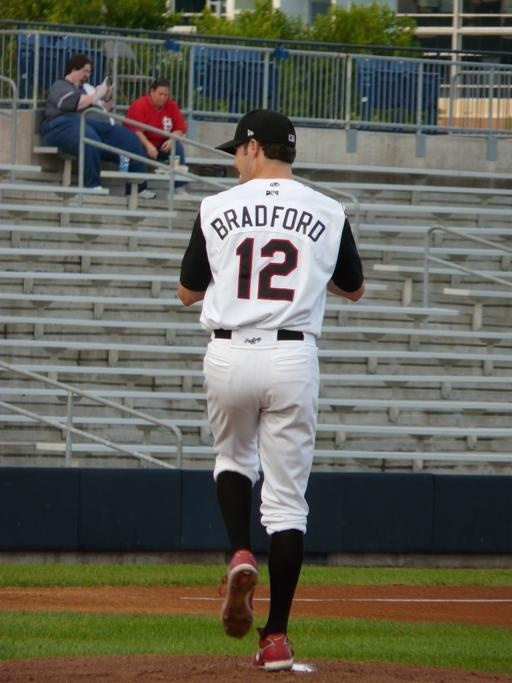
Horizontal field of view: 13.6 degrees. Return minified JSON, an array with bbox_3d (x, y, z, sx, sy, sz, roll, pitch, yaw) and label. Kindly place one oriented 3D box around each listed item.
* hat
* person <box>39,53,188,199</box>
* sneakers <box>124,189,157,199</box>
[{"bbox_3d":[-0.070,-1.525,15.717,0.444,0.281,0.319,-2,-5,-10],"label":"hat"},{"bbox_3d":[-1.429,-2.249,22.401,1.273,2.131,1.076,-2,-1,32],"label":"person"},{"bbox_3d":[-1.204,-1.485,22.020,0.322,0.175,0.122,-1,2,-8],"label":"sneakers"}]
